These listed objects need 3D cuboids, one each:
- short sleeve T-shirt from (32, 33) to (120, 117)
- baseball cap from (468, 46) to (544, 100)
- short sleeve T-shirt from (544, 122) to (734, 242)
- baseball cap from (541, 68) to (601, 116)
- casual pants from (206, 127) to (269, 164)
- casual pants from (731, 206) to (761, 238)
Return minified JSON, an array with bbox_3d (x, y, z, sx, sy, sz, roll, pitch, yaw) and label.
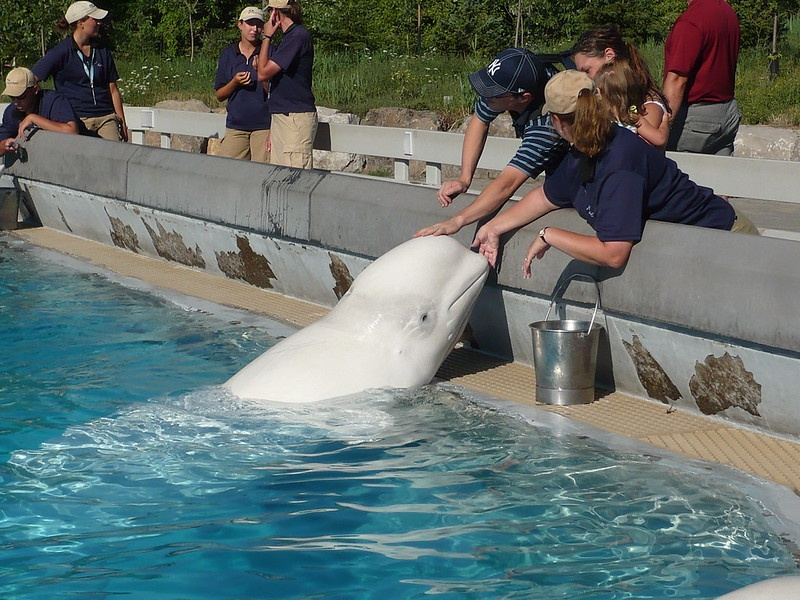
[{"bbox_3d":[-3.810,-2.671,9.528,0.440,0.878,1.073,27,33,35],"label":"short sleeve T-shirt"},{"bbox_3d":[0.702,-1.441,5.232,0.442,0.284,0.240,-2,-25,-9],"label":"baseball cap"},{"bbox_3d":[1.474,-0.629,4.778,0.914,0.392,0.597,12,6,-33],"label":"short sleeve T-shirt"},{"bbox_3d":[0.928,-1.120,4.459,0.211,0.163,0.277,-23,27,0],"label":"baseball cap"},{"bbox_3d":[-1.728,-1.665,8.651,1.111,0.376,0.333,1,5,-3],"label":"casual pants"},{"bbox_3d":[2.124,-0.482,4.920,0.140,0.130,0.317,8,14,23],"label":"casual pants"}]
